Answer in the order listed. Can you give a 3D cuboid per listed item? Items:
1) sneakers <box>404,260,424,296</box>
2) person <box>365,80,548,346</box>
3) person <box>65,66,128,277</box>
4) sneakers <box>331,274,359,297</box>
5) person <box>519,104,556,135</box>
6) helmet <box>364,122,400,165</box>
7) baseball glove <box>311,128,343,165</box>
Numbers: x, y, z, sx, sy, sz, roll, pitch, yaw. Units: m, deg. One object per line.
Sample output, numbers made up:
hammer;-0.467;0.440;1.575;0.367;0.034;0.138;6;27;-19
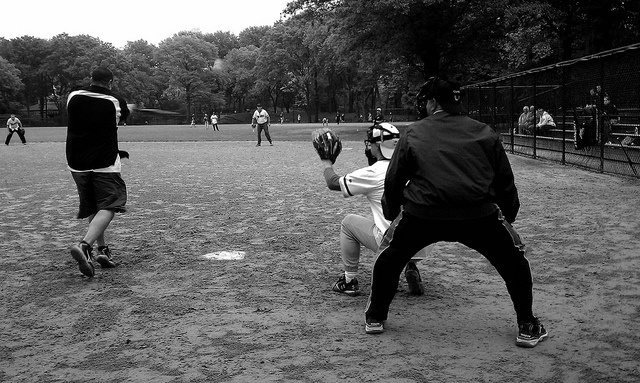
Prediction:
sneakers;1.097;1.011;5.926;0.179;0.440;0.202;-11;11;12
person;1.270;0.218;4.916;1.597;2.531;0.420;1;12;6
person;-2.905;-0.324;6.688;0.814;2.606;1.371;-3;12;-15
sneakers;0.305;1.106;5.885;0.146;0.171;0.389;-1;5;-39
person;8.045;-2.574;18.633;1.203;0.872;2.048;-3;12;12
helmet;0.538;-0.551;5.521;0.363;0.430;0.482;-1;5;-45
baseball glove;0.070;-0.502;5.522;0.296;0.358;0.256;0;12;-1
